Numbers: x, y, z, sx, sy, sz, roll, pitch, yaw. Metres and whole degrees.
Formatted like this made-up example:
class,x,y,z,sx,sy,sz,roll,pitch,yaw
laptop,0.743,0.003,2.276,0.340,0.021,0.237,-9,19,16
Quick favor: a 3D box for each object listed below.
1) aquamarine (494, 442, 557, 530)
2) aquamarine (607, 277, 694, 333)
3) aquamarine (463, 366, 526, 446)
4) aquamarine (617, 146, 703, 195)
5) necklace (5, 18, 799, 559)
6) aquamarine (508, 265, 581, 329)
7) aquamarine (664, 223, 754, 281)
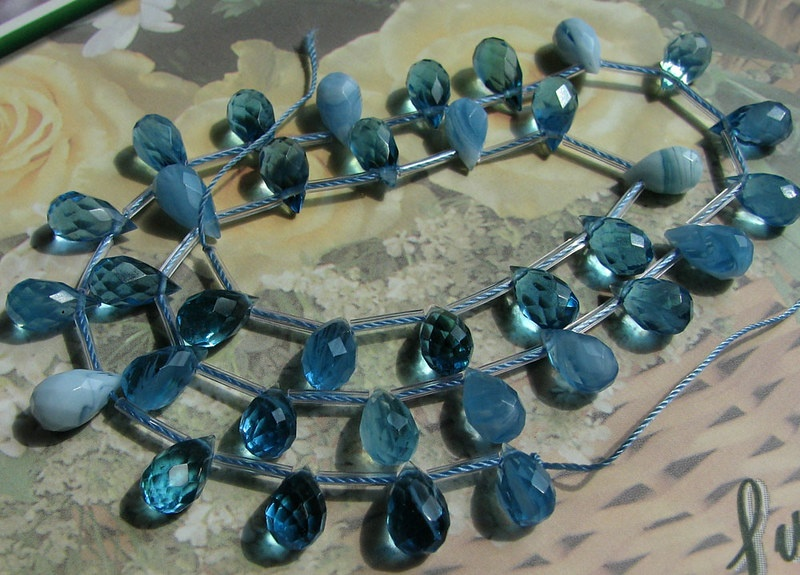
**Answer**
class,x,y,z,sx,sy,sz,roll,pitch,yaw
aquamarine,0.189,0.313,1.305,0.091,0.065,0.112,-20,71,-16
aquamarine,0.429,0.025,1.404,0.113,0.076,0.081,16,17,19
aquamarine,0.144,0.184,1.331,0.089,0.086,0.112,-35,90,1
aquamarine,0.466,-0.195,1.442,0.109,0.051,0.079,-5,45,18
necklace,0.070,0.029,1.428,1.168,0.162,0.784,-21,70,-5
aquamarine,0.235,0.016,1.341,0.110,0.039,0.084,39,63,25
aquamarine,0.524,-0.064,1.410,0.112,0.049,0.098,21,52,8
